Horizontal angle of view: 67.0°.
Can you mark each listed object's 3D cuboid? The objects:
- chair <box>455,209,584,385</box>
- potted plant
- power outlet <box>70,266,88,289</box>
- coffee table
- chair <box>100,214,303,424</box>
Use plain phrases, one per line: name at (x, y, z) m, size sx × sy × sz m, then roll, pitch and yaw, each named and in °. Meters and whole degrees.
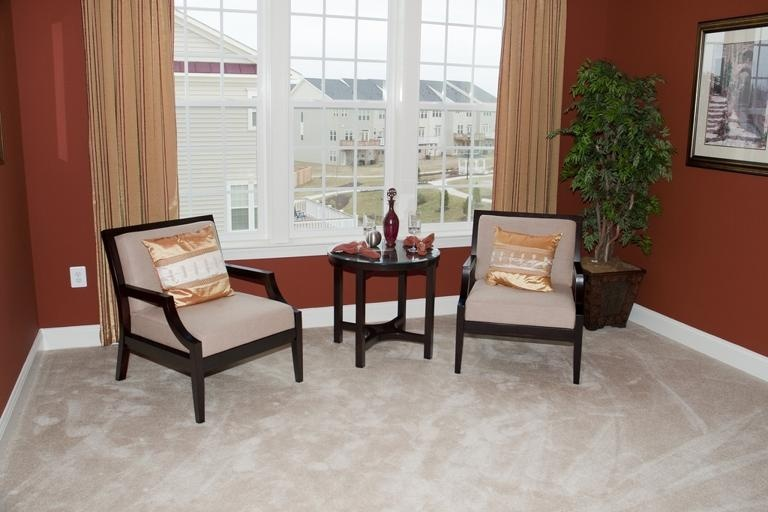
chair at (1.172, 0.308, 5.022) m, size 1.016 × 1.237 × 1.003 m, roll 2°, pitch 16°, yaw 12°
potted plant at (2.187, -0.586, 5.626) m, size 1.023 × 2.540 × 0.936 m, roll 7°, pitch 18°, yaw 26°
power outlet at (-2.685, 0.180, 5.093) m, size 0.177 × 0.258 × 0.025 m, roll -3°, pitch 7°, yaw -27°
coffee table at (-0.018, 0.437, 5.278) m, size 0.944 × 0.929 × 1.035 m, roll -2°, pitch 6°, yaw -21°
chair at (-1.435, 0.402, 4.610) m, size 1.350 × 1.210 × 1.135 m, roll 7°, pitch 13°, yaw 29°
